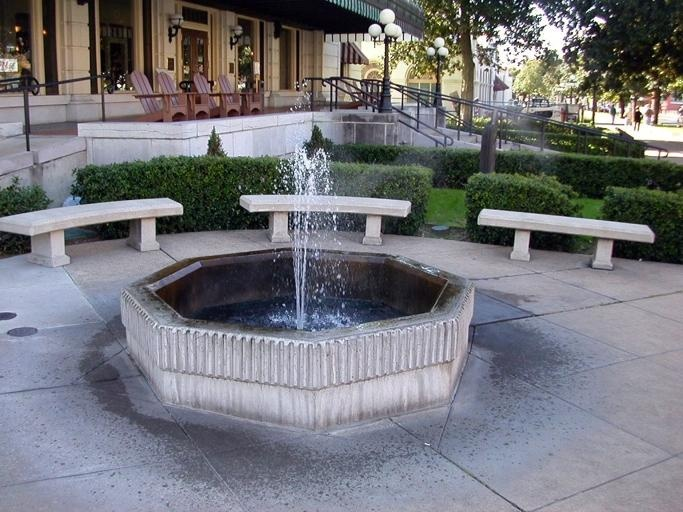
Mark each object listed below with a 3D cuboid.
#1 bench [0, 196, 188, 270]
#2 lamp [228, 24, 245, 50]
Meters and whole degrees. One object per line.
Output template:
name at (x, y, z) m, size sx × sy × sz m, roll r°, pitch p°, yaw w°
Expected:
bench at (-3.487, -0.334, 7.348) m, size 2.211 × 0.736 × 0.710 m, roll -12°, pitch 21°, yaw -43°
lamp at (-4.066, -8.584, 20.581) m, size 0.433 × 0.841 × 1.201 m, roll 4°, pitch 15°, yaw 5°
